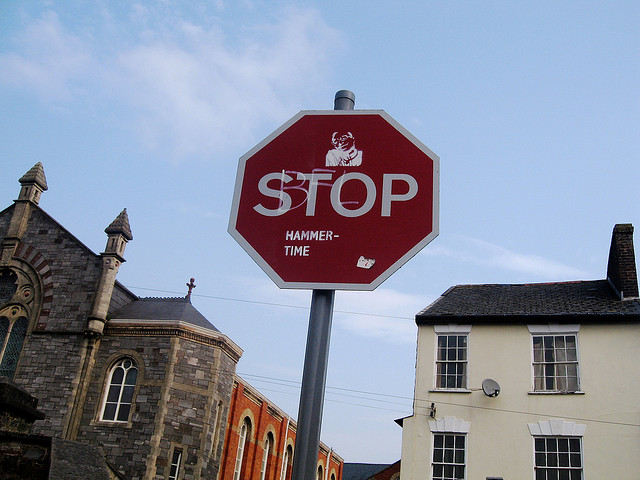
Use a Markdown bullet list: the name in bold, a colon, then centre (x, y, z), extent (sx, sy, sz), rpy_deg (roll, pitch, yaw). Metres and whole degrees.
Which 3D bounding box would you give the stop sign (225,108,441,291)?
- **stop sign**: centre (0.161, -0.264, 4.523), extent (1.465, 1.333, 0.053), rpy_deg (0, -21, 14)

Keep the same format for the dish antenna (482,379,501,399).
- **dish antenna**: centre (5.684, 4.905, 18.774), extent (0.639, 0.562, 0.214), rpy_deg (11, -23, -14)
